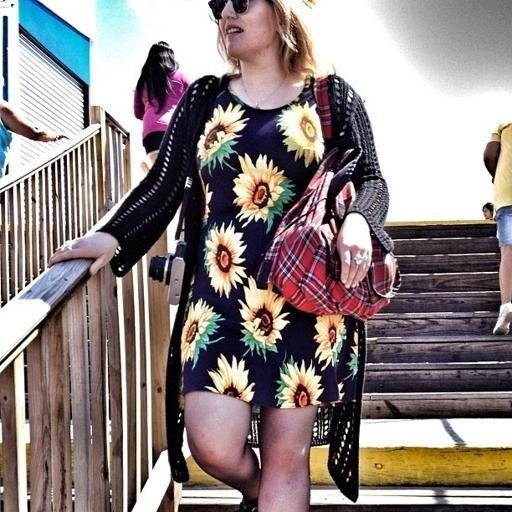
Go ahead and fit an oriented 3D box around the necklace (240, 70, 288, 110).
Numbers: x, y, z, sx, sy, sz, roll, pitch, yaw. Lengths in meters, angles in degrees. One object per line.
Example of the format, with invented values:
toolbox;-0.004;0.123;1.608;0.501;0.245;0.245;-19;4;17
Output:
necklace;0.020;-0.588;2.525;0.167;0.156;0.170;4;42;-7

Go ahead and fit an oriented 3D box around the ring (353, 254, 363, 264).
ring;0.319;0.015;2.213;0.024;0.024;0.007;17;0;-13

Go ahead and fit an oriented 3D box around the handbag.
handbag;0.245;-0.087;2.318;0.362;0.715;0.318;4;0;-39

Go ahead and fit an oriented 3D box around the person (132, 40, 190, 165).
person;-0.591;-0.843;4.691;0.366;1.085;0.348;-5;-6;1

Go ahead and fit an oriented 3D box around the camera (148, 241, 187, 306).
camera;-0.321;0.053;2.587;0.126;0.184;0.245;8;16;-6
